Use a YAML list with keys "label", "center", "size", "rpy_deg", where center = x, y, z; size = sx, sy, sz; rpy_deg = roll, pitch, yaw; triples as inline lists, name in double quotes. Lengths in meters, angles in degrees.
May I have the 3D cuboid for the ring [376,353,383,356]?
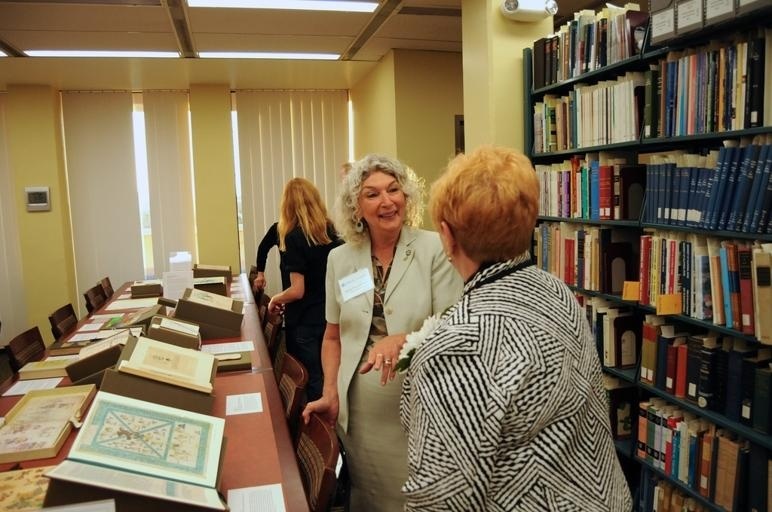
- label: "ring"
  center: [-0.025, 0.444, 2.480]
  size: [0.025, 0.011, 0.015]
  rpy_deg: [-3, 10, -9]
